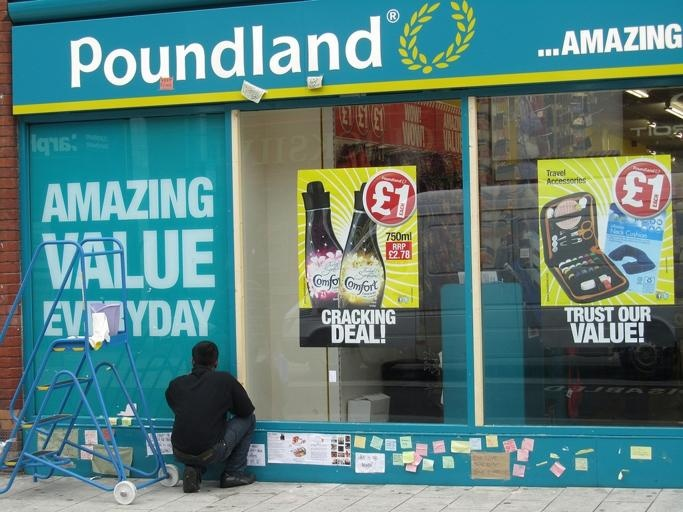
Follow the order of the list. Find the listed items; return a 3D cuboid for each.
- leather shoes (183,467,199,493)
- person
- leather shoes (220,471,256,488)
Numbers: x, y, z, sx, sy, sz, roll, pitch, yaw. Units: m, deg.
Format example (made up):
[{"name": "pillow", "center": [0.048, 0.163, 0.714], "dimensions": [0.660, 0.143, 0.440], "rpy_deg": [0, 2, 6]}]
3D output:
[{"name": "leather shoes", "center": [-1.409, 2.110, 8.440], "dimensions": [0.095, 0.313, 0.206], "rpy_deg": [-1, -4, 6]}, {"name": "person", "center": [-1.270, 1.594, 8.671], "dimensions": [0.814, 1.369, 0.859], "rpy_deg": [-3, -7, 0]}, {"name": "leather shoes", "center": [-1.014, 2.170, 8.646], "dimensions": [0.358, 0.171, 0.125], "rpy_deg": [-2, -1, -20]}]
